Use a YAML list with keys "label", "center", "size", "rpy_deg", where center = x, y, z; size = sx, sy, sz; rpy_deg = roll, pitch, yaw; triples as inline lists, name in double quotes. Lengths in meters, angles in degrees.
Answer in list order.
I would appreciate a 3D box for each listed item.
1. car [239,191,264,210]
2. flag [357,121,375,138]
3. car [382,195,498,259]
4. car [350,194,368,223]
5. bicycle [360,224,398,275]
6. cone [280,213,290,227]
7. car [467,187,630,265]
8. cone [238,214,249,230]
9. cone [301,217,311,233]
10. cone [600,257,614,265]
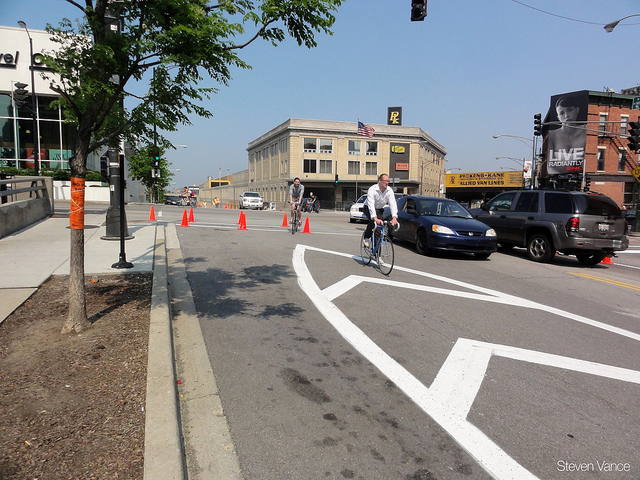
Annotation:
- label: "car"
  center: [-7.003, -3.973, 47.723]
  size: [1.308, 1.162, 2.545]
  rpy_deg: [0, -1, -19]
- label: "flag"
  center: [4.801, -11.684, 50.918]
  size: [1.479, 1.427, 1.442]
  rpy_deg: [3, 12, 2]
- label: "car"
  center: [3.207, -0.270, 14.039]
  size: [1.635, 1.464, 4.059]
  rpy_deg: [3, 0, -13]
- label: "car"
  center: [2.166, -1.648, 26.464]
  size: [0.704, 1.773, 2.890]
  rpy_deg: [2, 13, -3]
- label: "bicycle"
  center: [1.226, 0.081, 10.564]
  size: [0.436, 1.161, 1.755]
  rpy_deg: [6, 7, -17]
- label: "cone"
  center: [-1.481, -0.825, 20.437]
  size: [0.398, 0.585, 0.406]
  rpy_deg: [-10, 21, -36]
- label: "car"
  center: [6.272, -0.892, 14.121]
  size: [2.045, 1.916, 4.839]
  rpy_deg: [0, 8, -15]
- label: "cone"
  center: [-2.921, -0.654, 18.312]
  size: [0.458, 0.576, 0.484]
  rpy_deg: [0, 3, -9]
- label: "cone"
  center: [-0.443, -0.524, 17.662]
  size: [0.385, 0.477, 0.397]
  rpy_deg: [-5, 15, -26]
- label: "cone"
  center: [8.243, 0.602, 13.763]
  size: [0.203, 0.155, 0.217]
  rpy_deg: [4, 8, 18]
